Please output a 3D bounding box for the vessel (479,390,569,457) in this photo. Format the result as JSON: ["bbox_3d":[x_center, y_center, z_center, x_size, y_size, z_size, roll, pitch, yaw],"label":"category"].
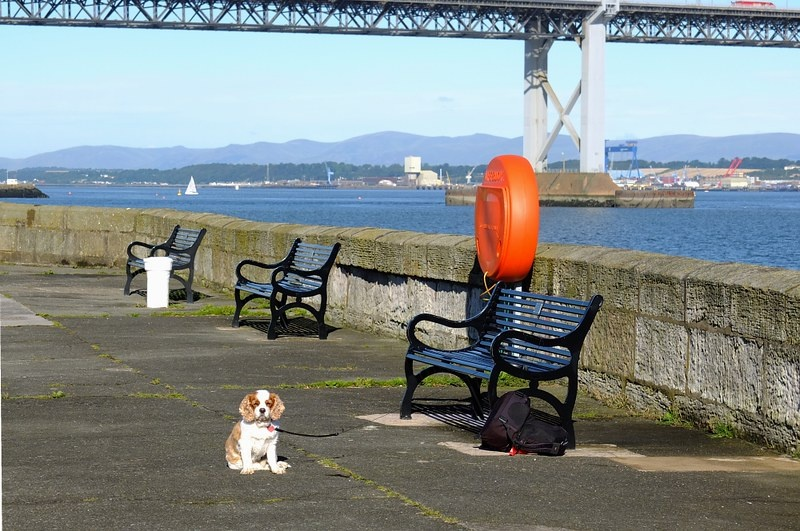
[{"bbox_3d":[1.016,1.308,10.073,0.668,0.328,0.527,8,24,11],"label":"vessel"}]

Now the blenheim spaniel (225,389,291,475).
[{"bbox_3d":[-1.088,1.250,9.443,0.529,0.600,0.457,-2,-4,39],"label":"blenheim spaniel"}]

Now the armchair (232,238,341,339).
[{"bbox_3d":[-1.383,0.262,14.986,0.864,1.068,1.871,-1,3,-18],"label":"armchair"}]

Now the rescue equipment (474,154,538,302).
[{"bbox_3d":[1.005,-0.331,11.655,0.408,0.959,1.274,1,-8,-10],"label":"rescue equipment"}]

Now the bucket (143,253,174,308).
[{"bbox_3d":[-3.149,0.228,16.415,0.325,0.660,0.617,-1,10,-12],"label":"bucket"}]
